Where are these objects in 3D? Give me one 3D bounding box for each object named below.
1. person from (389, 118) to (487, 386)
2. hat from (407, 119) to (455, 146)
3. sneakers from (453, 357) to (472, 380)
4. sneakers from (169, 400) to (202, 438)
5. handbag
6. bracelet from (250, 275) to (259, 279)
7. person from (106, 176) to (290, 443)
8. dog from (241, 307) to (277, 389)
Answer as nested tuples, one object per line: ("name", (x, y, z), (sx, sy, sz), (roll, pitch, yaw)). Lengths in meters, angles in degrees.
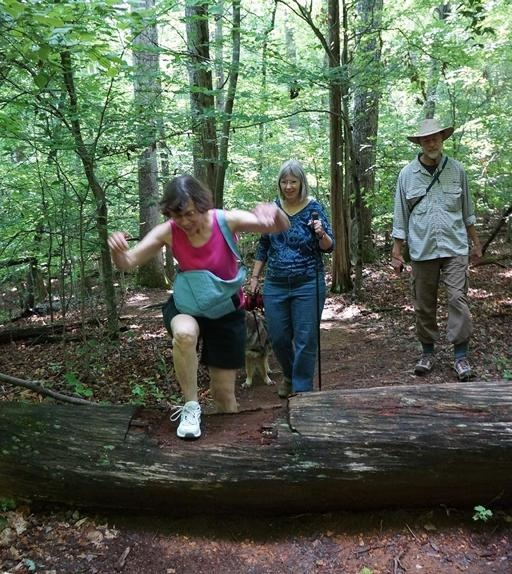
("person", (1.675, -0.357, 5.190), (0.761, 2.381, 0.894), (-4, 15, 23))
("hat", (1.624, -1.464, 5.134), (0.391, 0.221, 0.461), (-5, 11, 7))
("sneakers", (1.913, 0.742, 5.092), (0.137, 0.181, 0.261), (-7, 11, 7))
("sneakers", (-0.449, 0.845, 3.580), (0.183, 0.220, 0.252), (-11, 12, -9))
("handbag", (-0.322, 0.049, 3.668), (0.361, 0.186, 0.419), (4, 5, 6))
("bracelet", (-0.009, -0.091, 5.082), (0.039, 0.031, 0.034), (10, 0, -41))
("person", (-0.325, 0.111, 3.646), (1.031, 1.693, 0.498), (-15, 15, -24))
("dog", (-0.055, 0.714, 6.678), (0.463, 0.791, 1.710), (-2, -8, -8))
